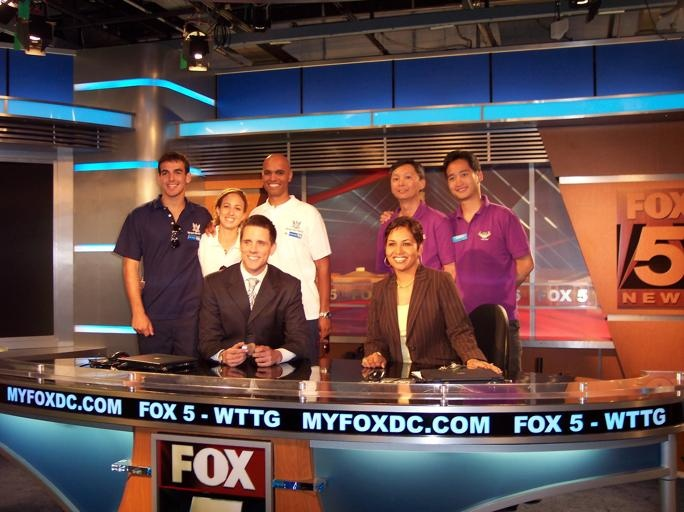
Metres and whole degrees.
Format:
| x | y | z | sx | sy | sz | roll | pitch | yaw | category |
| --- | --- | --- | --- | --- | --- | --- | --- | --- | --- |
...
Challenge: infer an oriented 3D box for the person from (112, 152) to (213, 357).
| x | y | z | sx | sy | sz | roll | pitch | yaw | category |
| --- | --- | --- | --- | --- | --- | --- | --- | --- | --- |
| -1.127 | -0.013 | 4.055 | 0.639 | 1.269 | 0.595 | -7 | 16 | -19 | person |

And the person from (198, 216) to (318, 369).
| x | y | z | sx | sy | sz | roll | pitch | yaw | category |
| --- | --- | --- | --- | --- | --- | --- | --- | --- | --- |
| -0.496 | 0.265 | 3.532 | 0.650 | 0.858 | 0.652 | 3 | 13 | 5 | person |

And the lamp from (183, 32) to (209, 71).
| x | y | z | sx | sy | sz | roll | pitch | yaw | category |
| --- | --- | --- | --- | --- | --- | --- | --- | --- | --- |
| -1.318 | -1.874 | 5.793 | 0.246 | 0.301 | 0.315 | 2 | -4 | -7 | lamp |

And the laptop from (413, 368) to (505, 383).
| x | y | z | sx | sy | sz | roll | pitch | yaw | category |
| --- | --- | --- | --- | --- | --- | --- | --- | --- | --- |
| 0.540 | 0.549 | 2.884 | 0.423 | 0.029 | 0.296 | 3 | -3 | -19 | laptop |

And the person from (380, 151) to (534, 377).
| x | y | z | sx | sy | sz | roll | pitch | yaw | category |
| --- | --- | --- | --- | --- | --- | --- | --- | --- | --- |
| 0.980 | 0.288 | 4.562 | 0.724 | 1.935 | 0.619 | -2 | 16 | 26 | person |

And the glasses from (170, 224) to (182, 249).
| x | y | z | sx | sy | sz | roll | pitch | yaw | category |
| --- | --- | --- | --- | --- | --- | --- | --- | --- | --- |
| -1.080 | -0.135 | 4.074 | 0.076 | 0.126 | 0.035 | 2 | -10 | -19 | glasses |

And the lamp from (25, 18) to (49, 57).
| x | y | z | sx | sy | sz | roll | pitch | yaw | category |
| --- | --- | --- | --- | --- | --- | --- | --- | --- | --- |
| -2.394 | -1.722 | 4.921 | 0.191 | 0.275 | 0.172 | -8 | 16 | -24 | lamp |

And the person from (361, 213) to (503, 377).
| x | y | z | sx | sy | sz | roll | pitch | yaw | category |
| --- | --- | --- | --- | --- | --- | --- | --- | --- | --- |
| 0.414 | 0.239 | 3.342 | 0.657 | 0.794 | 0.857 | -14 | 6 | -42 | person |
